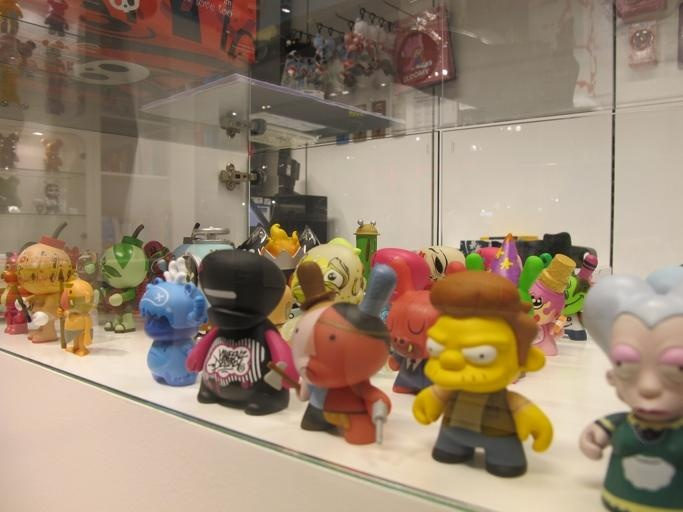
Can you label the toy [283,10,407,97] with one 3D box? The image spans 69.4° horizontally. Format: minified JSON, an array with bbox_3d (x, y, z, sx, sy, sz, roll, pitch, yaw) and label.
[{"bbox_3d":[0.000,-0.631,1.557,0.342,0.161,0.245,1,3,40],"label":"toy"}]
